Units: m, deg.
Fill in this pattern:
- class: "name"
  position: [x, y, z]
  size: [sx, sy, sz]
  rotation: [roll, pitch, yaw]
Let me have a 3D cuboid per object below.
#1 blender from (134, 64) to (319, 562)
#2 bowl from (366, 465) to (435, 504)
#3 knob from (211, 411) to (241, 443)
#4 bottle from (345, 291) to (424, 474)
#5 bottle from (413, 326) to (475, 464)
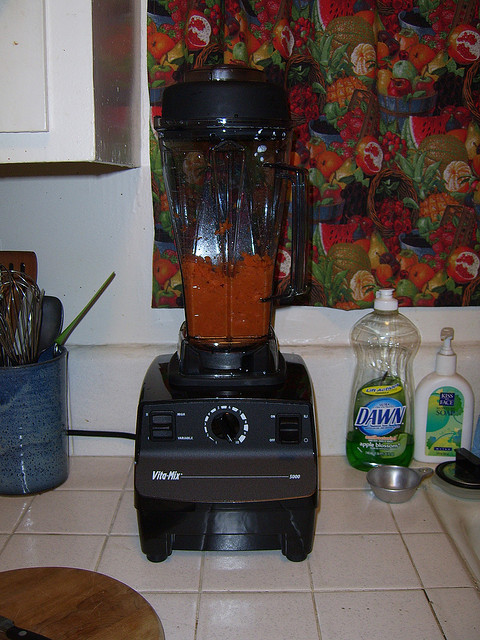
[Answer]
- class: "blender"
  position: [-0.019, -0.015, 0.707]
  size: [0.223, 0.594, 0.243]
  rotation: [0, 9, -1]
- class: "bowl"
  position: [0.235, 0.238, 0.817]
  size: [0.076, 0.028, 0.054]
  rotation: [-1, 8, -17]
- class: "knob"
  position: [-0.017, 0.127, 0.651]
  size: [0.029, 0.038, 0.012]
  rotation: [-15, -6, -6]
- class: "bottle"
  position: [0.241, 0.099, 0.893]
  size: [0.129, 0.298, 0.187]
  rotation: [2, 9, 10]
- class: "bottle"
  position: [0.325, 0.140, 0.929]
  size: [0.086, 0.229, 0.104]
  rotation: [8, 22, 8]
